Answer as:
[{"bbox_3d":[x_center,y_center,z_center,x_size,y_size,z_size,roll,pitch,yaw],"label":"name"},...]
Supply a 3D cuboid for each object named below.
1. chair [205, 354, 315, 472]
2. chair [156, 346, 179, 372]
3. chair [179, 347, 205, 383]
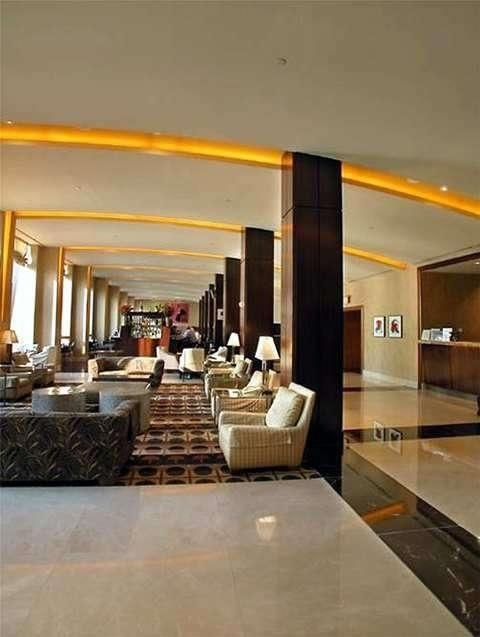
[{"bbox_3d":[0.261,0.976,4.414,0.828,0.649,0.823,1,-5,-7],"label":"chair"},{"bbox_3d":[-1.969,1.136,12.370,0.706,0.937,0.670,-1,4,-17],"label":"chair"},{"bbox_3d":[-1.273,1.138,11.646,0.675,0.940,0.792,1,2,-16],"label":"chair"}]
